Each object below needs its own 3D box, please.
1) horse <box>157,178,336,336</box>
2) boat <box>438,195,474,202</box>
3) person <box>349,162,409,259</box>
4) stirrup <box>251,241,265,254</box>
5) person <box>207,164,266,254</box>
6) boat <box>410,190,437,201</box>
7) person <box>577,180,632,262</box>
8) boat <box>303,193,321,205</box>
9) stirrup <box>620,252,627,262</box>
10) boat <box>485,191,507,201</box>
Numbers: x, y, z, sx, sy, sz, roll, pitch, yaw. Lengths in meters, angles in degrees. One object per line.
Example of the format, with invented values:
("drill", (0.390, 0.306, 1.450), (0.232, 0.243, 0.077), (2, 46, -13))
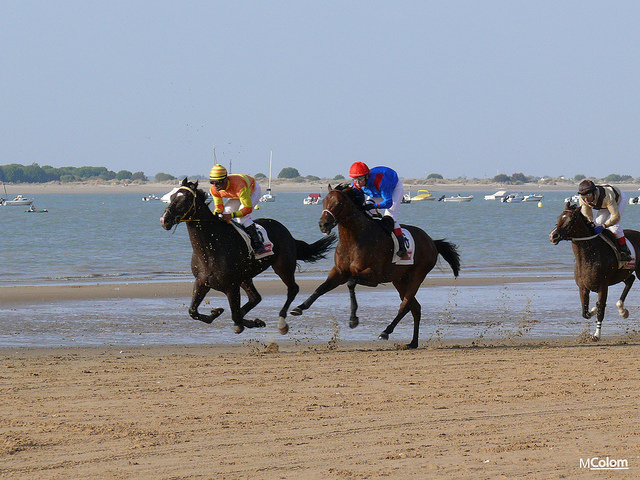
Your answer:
("horse", (-1.033, 0.288, 17.175), (0.980, 2.620, 4.017), (-1, 2, 38))
("boat", (13.982, -4.104, 111.138), (4.597, 0.775, 1.068), (0, 7, 15))
("person", (0.963, -0.471, 17.211), (0.823, 1.556, 1.095), (3, 9, 20))
("stirrup", (-0.962, 0.131, 16.812), (0.038, 0.123, 0.126), (-15, 9, 47))
("person", (-1.382, -0.530, 17.087), (0.673, 1.500, 1.057), (0, 28, 25))
("boat", (11.123, -5.193, 118.680), (1.768, 1.111, 3.452), (-1, -2, -4))
("person", (4.715, -0.359, 18.040), (0.995, 1.362, 1.004), (-1, 8, -6))
("boat", (-0.678, -3.847, 101.329), (1.015, 1.127, 3.529), (6, 11, 10))
("stirrup", (4.989, 0.269, 17.763), (0.112, 0.143, 0.052), (13, 11, 31))
("boat", (21.799, -5.562, 134.187), (1.152, 0.986, 6.863), (-2, 2, 15))
